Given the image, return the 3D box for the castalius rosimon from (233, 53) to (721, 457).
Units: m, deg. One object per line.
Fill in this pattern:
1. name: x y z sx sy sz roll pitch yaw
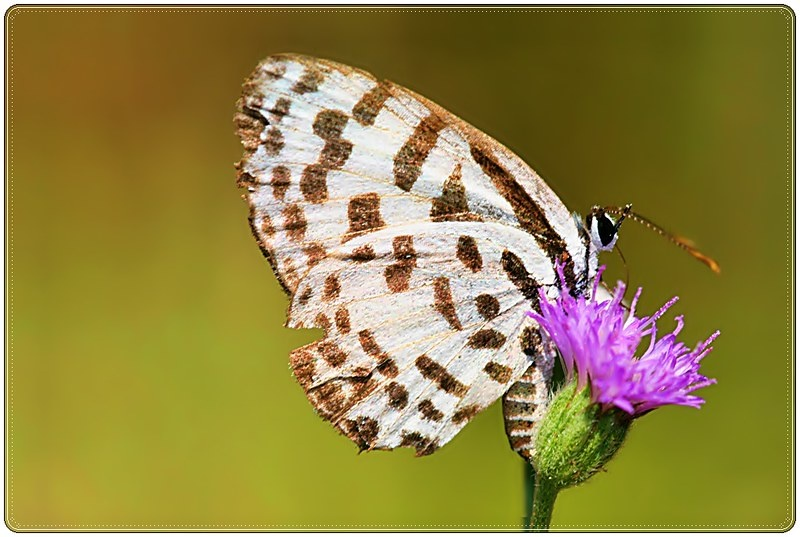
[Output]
1. castalius rosimon: 0.433 -0.004 5.453 2.164 2.433 2.255 -9 -102 4

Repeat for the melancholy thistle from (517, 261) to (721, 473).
1. melancholy thistle: 1.104 0.450 4.731 0.830 1.040 1.637 2 -87 -2
